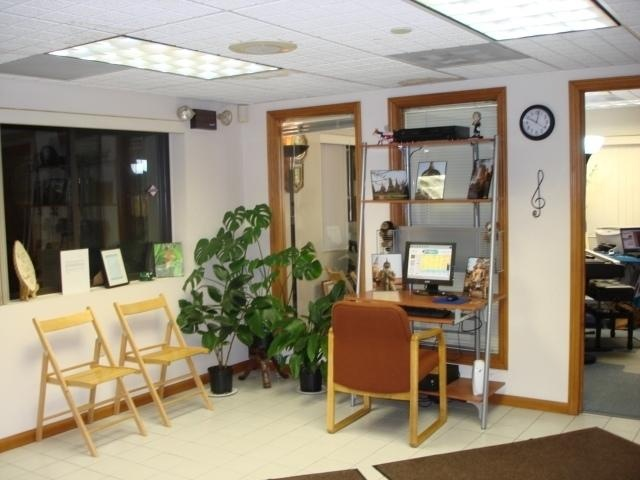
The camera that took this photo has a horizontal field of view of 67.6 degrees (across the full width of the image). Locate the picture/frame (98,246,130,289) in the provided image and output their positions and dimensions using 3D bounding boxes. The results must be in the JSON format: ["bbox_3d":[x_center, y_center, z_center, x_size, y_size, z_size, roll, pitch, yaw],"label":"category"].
[{"bbox_3d":[-2.123,0.284,5.001,0.313,0.383,0.040,-11,3,28],"label":"picture/frame"}]

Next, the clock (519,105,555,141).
[{"bbox_3d":[2.080,-1.119,4.567,0.388,0.364,0.058,2,6,36],"label":"clock"}]

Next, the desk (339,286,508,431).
[{"bbox_3d":[1.013,1.021,4.657,1.404,0.881,0.726,-11,-2,12],"label":"desk"}]

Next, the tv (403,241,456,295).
[{"bbox_3d":[1.086,0.266,4.741,0.567,0.508,0.199,1,-4,28],"label":"tv"}]

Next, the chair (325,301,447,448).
[{"bbox_3d":[0.610,1.136,4.346,0.980,1.075,0.806,-3,-4,27],"label":"chair"}]

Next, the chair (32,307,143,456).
[{"bbox_3d":[-2.071,1.218,4.377,0.882,1.189,0.952,-5,5,-41],"label":"chair"}]

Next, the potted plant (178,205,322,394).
[{"bbox_3d":[-1.135,0.874,5.583,1.713,1.813,1.347,-4,-3,41],"label":"potted plant"}]

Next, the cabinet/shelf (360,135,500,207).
[{"bbox_3d":[1.089,-0.693,4.861,1.337,0.640,0.778,-1,3,18],"label":"cabinet/shelf"}]
